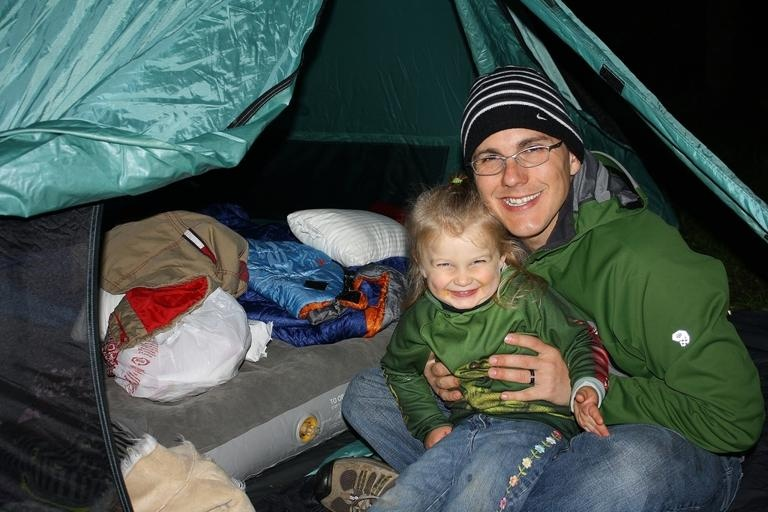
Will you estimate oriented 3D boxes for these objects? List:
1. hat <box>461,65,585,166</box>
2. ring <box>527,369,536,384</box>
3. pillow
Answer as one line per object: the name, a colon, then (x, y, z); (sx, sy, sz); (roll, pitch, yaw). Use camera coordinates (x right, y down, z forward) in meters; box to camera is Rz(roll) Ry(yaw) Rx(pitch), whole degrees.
hat: (0.526, -0.553, 2.539); (0.444, 0.376, 0.335); (-16, 5, -36)
ring: (0.534, 0.435, 2.332); (0.016, 0.043, 0.039); (1, 17, -9)
pillow: (-0.055, -0.078, 3.663); (0.461, 0.136, 0.498); (-26, 0, -38)
